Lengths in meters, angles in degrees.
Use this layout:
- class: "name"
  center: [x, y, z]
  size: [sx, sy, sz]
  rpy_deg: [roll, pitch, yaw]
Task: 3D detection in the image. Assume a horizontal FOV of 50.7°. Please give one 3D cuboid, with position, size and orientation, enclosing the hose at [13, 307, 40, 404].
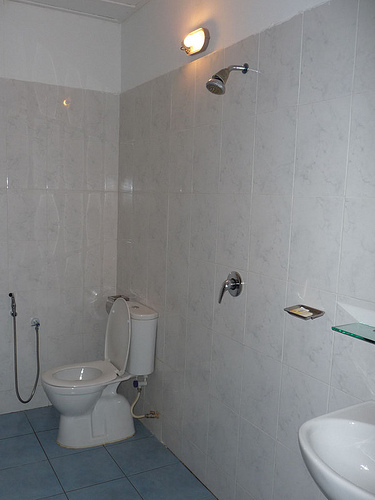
- class: "hose"
  center: [-1.107, 0.739, 2.707]
  size: [0.177, 0.709, 0.298]
  rpy_deg: [1, 0, -24]

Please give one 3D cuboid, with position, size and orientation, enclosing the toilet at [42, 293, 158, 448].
- class: "toilet"
  center: [-0.574, 0.739, 2.543]
  size: [0.566, 0.974, 0.423]
  rpy_deg: [4, 4, -31]
